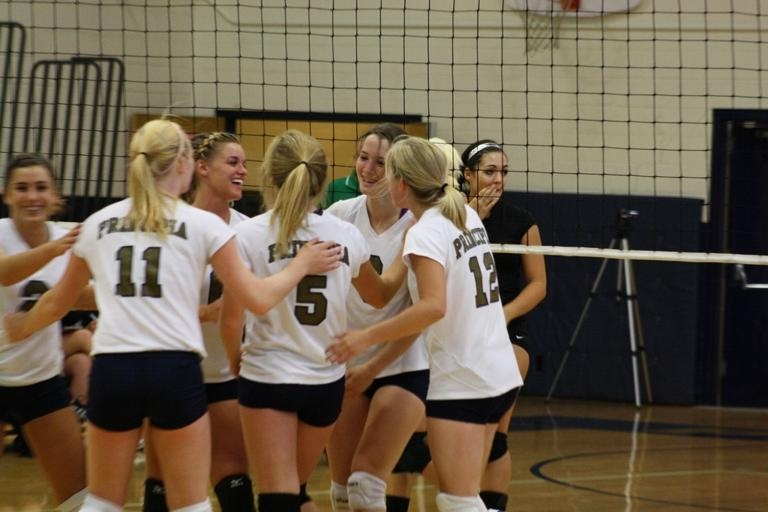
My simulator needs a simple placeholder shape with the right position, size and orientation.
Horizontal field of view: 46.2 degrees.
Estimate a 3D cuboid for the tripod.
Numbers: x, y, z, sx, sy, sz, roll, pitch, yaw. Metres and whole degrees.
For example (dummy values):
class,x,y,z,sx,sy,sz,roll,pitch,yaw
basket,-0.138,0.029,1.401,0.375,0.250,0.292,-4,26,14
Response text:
class,x,y,z,sx,sy,sz,roll,pitch,yaw
tripod,2.536,0.597,10.206,1.036,2.236,0.604,1,4,14
